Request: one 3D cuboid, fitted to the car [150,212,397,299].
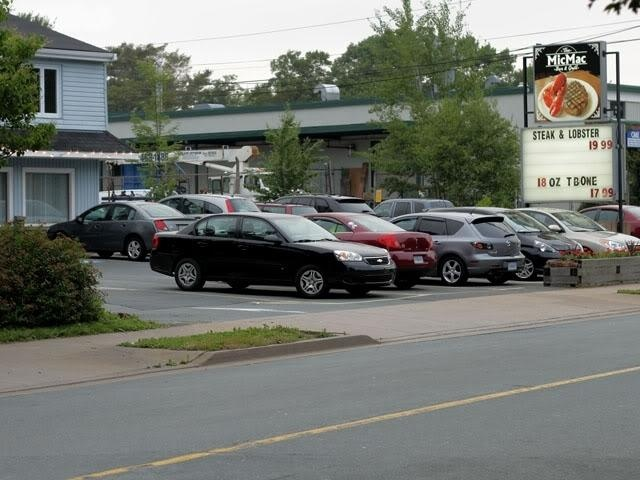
[{"bbox_3d":[-1.147,0.459,16.970,5.746,1.749,2.470,-2,-3,26],"label":"car"}]

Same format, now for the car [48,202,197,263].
[{"bbox_3d":[-7.912,-0.556,25.246,6.226,2.018,2.694,2,2,25],"label":"car"}]

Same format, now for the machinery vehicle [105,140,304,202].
[{"bbox_3d":[-10.965,-5.073,48.770,11.412,4.598,28.355,1,1,-20],"label":"machinery vehicle"}]
